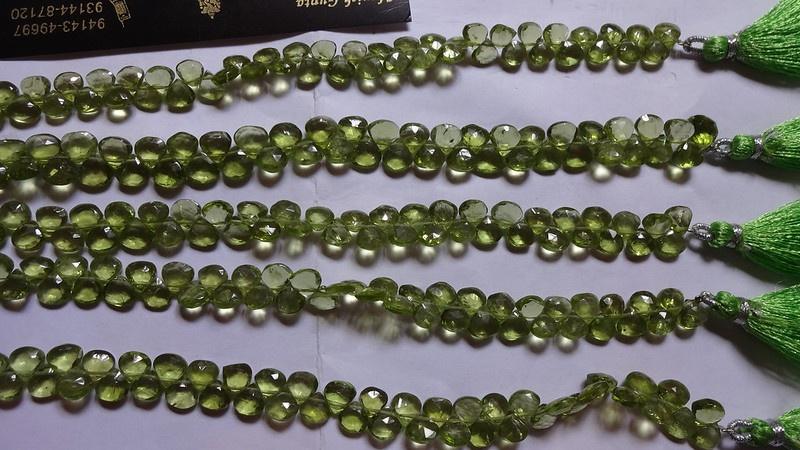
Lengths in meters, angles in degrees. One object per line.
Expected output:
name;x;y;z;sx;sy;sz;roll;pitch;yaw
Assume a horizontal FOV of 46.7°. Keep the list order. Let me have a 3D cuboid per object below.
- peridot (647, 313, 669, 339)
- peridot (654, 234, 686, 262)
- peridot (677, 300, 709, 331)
peridot;0.723;0.288;2.603;0.063;0.064;0.041;-15;4;6
peridot;0.759;0.061;2.632;0.082;0.082;0.052;-29;4;19
peridot;0.827;0.240;2.639;0.079;0.117;0.068;9;-12;7
